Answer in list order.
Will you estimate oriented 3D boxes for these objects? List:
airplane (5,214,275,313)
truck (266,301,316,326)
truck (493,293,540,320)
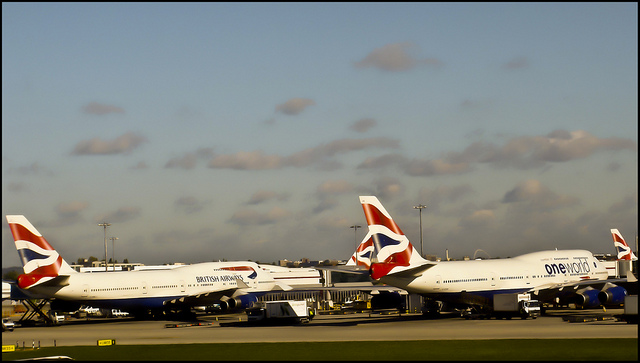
[{"bbox_3d":[-18.120,10.305,97.232,24.217,7.330,19.472,-1,-1,-28],"label":"airplane"},{"bbox_3d":[-2.945,12.393,90.833,3.825,1.398,2.149,1,-5,-2],"label":"truck"},{"bbox_3d":[18.909,11.904,90.650,2.200,1.808,4.262,4,-10,-41],"label":"truck"}]
